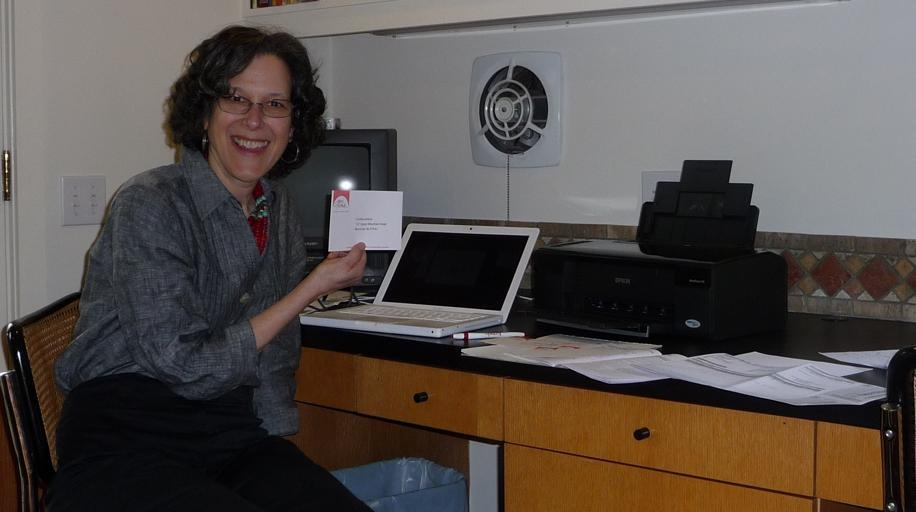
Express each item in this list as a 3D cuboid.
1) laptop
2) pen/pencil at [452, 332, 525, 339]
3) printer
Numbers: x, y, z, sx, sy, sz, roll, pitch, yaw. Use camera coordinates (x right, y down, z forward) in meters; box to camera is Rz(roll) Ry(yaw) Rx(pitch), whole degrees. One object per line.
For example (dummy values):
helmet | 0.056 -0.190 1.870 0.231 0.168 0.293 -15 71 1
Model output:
laptop | -0.064 0.089 2.472 0.522 0.228 0.540 5 5 33
pen/pencil | 0.099 0.263 2.305 0.197 0.019 0.021 -2 0 -12
printer | 0.730 0.051 2.439 0.773 0.578 0.699 4 4 44
